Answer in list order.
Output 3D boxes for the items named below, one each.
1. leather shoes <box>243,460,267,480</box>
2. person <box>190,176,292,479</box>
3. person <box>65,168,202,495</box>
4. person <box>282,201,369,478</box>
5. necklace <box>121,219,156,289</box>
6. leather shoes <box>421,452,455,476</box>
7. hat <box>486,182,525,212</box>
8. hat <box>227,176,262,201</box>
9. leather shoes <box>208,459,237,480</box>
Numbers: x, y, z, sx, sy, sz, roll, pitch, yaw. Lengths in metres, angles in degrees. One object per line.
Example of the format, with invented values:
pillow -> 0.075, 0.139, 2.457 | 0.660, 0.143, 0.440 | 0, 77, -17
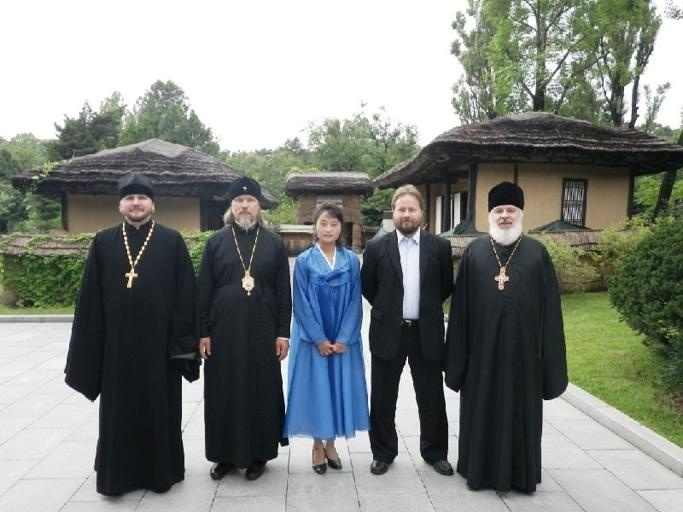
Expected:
leather shoes -> -0.856, 2.126, 6.284 | 0.091, 0.110, 0.277 | -1, -7, 6
person -> -0.961, 0.797, 6.373 | 0.927, 2.468, 0.556 | -1, 4, -15
person -> -2.021, 0.737, 6.217 | 1.229, 3.085, 0.629 | -1, 4, -15
person -> -0.131, 0.638, 6.369 | 0.858, 2.327, 0.424 | 0, 4, -1
necklace -> -2.024, 0.024, 6.242 | 0.237, 0.763, 0.070 | 1, -22, 0
leather shoes -> 0.999, 2.107, 6.370 | 0.103, 0.121, 0.301 | -6, -2, -33
hat -> 1.655, -0.604, 6.407 | 0.296, 0.255, 0.303 | 1, 1, 7
hat -> -0.974, -0.696, 6.506 | 0.214, 0.152, 0.307 | 1, -1, -4
leather shoes -> -1.184, 2.148, 6.337 | 0.108, 0.132, 0.330 | -4, -14, 17
